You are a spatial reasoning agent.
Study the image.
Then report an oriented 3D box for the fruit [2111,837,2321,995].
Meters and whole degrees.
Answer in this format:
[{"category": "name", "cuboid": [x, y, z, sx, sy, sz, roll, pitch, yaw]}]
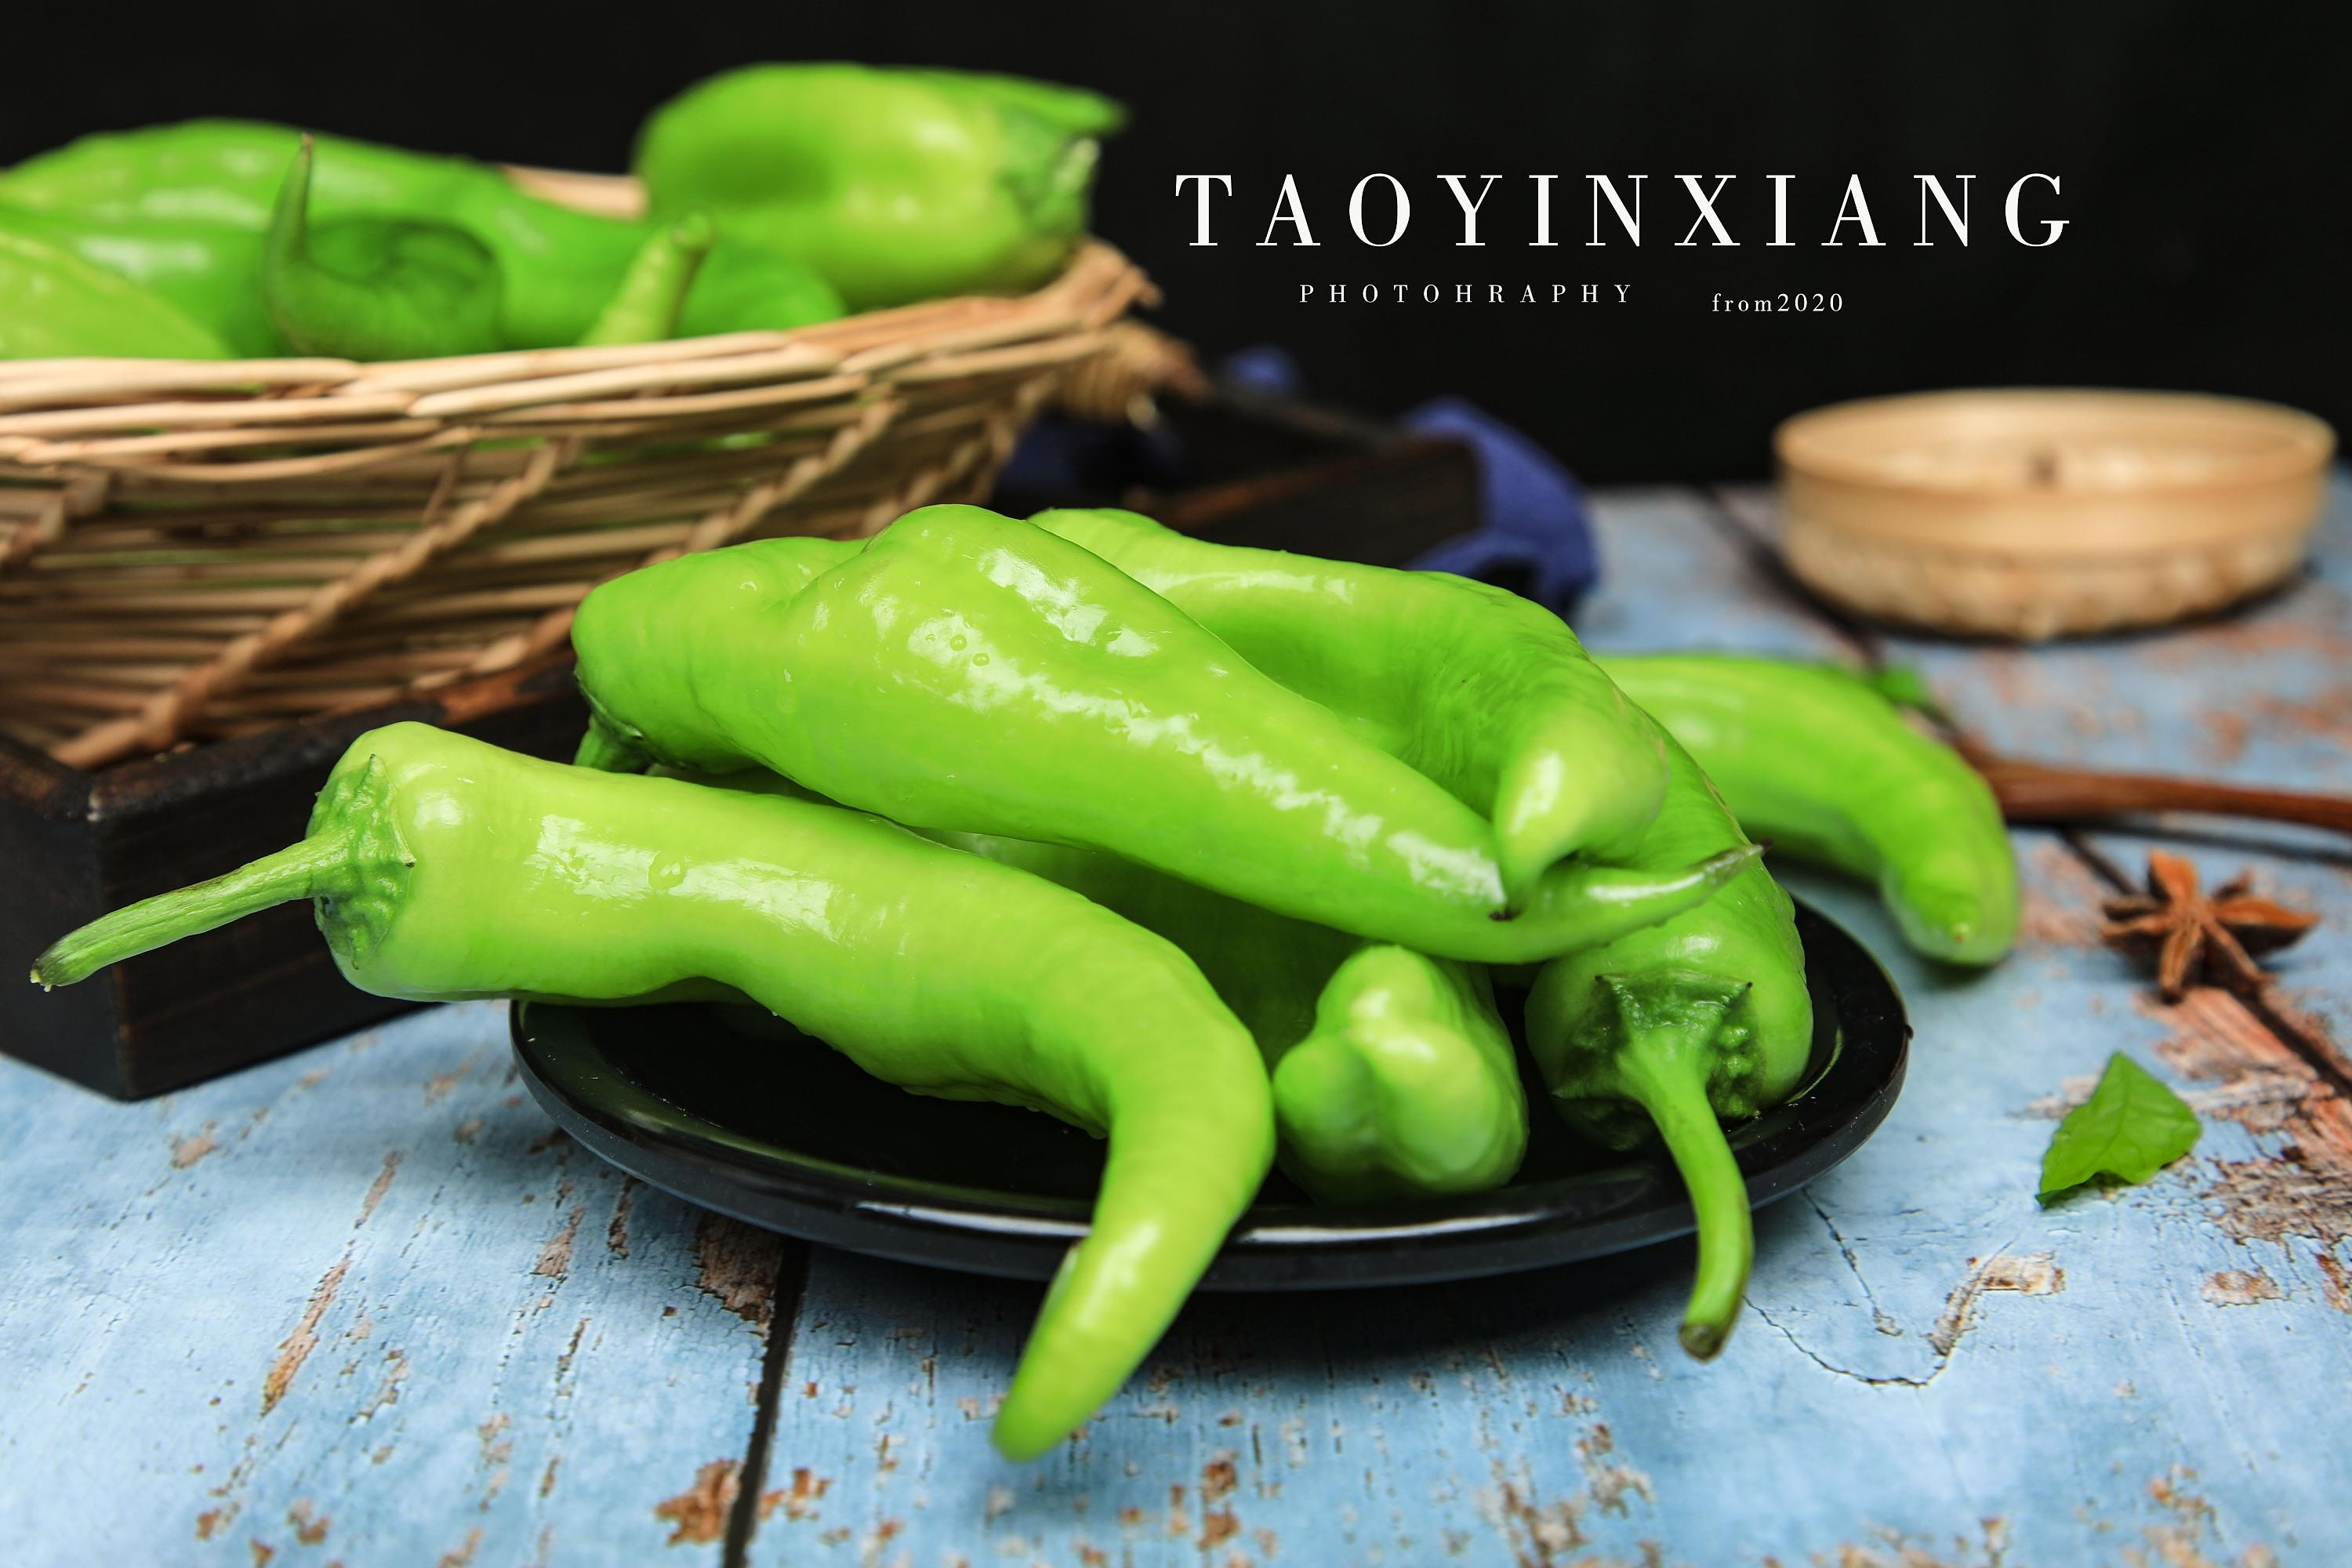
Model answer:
[{"category": "fruit", "cuboid": [0.411, 0.059, 0.894, 0.066, 0.021, 0.065, -33, 48, -32]}]
